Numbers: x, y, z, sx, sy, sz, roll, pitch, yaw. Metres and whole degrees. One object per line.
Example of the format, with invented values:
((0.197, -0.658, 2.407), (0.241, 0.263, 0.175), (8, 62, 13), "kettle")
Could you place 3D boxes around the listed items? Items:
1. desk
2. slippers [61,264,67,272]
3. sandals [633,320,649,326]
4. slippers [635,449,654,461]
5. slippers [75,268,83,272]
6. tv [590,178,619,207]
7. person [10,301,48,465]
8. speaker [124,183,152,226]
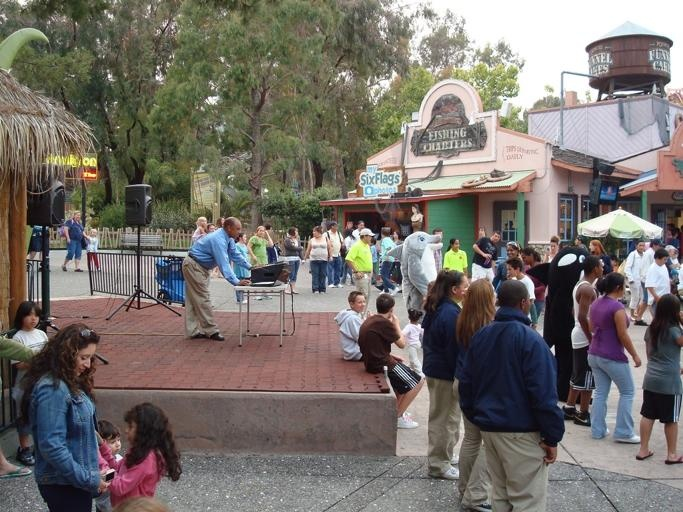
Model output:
((-1.276, 0.867, 11.609), (0.592, 0.875, 1.790), (-1, -7, -13), "desk")
((-8.865, 0.341, 22.986), (0.126, 0.156, 0.367), (13, 17, -23), "slippers")
((6.323, 1.404, 15.159), (0.307, 0.152, 0.112), (-1, 7, -4), "sandals")
((3.366, 2.216, 8.001), (0.202, 0.070, 0.075), (-2, 0, -41), "slippers")
((-8.385, 0.450, 22.946), (0.200, 0.090, 0.076), (8, 12, 23), "slippers")
((7.863, -1.917, 21.473), (1.205, 0.982, 0.608), (-3, 7, -44), "tv")
((-3.359, 1.376, 7.801), (0.469, 1.741, 0.502), (-2, 1, -43), "person")
((-4.016, -1.020, 14.200), (0.507, 0.827, 0.556), (-1, 3, -18), "speaker")
